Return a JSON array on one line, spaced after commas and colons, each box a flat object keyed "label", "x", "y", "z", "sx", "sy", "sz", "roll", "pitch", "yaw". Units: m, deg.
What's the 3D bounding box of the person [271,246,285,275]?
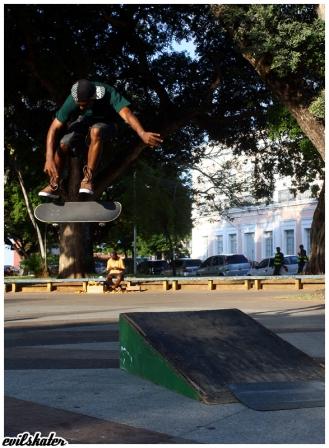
[{"label": "person", "x": 4.531, "y": 1.433, "z": 24.103, "sx": 0.404, "sy": 0.891, "sz": 1.264, "roll": -2, "pitch": -2, "yaw": 10}]

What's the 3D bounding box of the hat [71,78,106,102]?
[{"label": "hat", "x": -0.722, "y": -1.309, "z": 5.897, "sx": 0.296, "sy": 0.169, "sz": 0.191, "roll": -17, "pitch": 46, "yaw": -5}]

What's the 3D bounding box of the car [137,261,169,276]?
[{"label": "car", "x": -0.827, "y": 2.849, "z": 40.451, "sx": 0.916, "sy": 0.732, "sz": 1.561, "roll": 0, "pitch": 4, "yaw": -38}]

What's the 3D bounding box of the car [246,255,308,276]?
[{"label": "car", "x": 4.598, "y": 1.766, "z": 25.285, "sx": 1.055, "sy": 0.785, "sz": 1.708, "roll": 1, "pitch": 0, "yaw": -41}]

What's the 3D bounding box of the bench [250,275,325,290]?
[{"label": "bench", "x": 3.897, "y": 1.875, "z": 20.185, "sx": 2.398, "sy": 0.399, "sz": 3.063, "roll": -2, "pitch": -2, "yaw": -7}]

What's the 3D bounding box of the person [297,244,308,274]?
[{"label": "person", "x": 5.223, "y": 1.298, "z": 23.149, "sx": 0.365, "sy": 0.908, "sz": 2.109, "roll": -2, "pitch": -2, "yaw": 12}]

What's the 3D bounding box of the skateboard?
[{"label": "skateboard", "x": -0.899, "y": -0.116, "z": 6.245, "sx": 1.051, "sy": 0.296, "sz": 0.146, "roll": 0, "pitch": -18, "yaw": -2}]

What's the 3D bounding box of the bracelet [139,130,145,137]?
[{"label": "bracelet", "x": -0.216, "y": -0.871, "z": 5.902, "sx": 0.013, "sy": 0.056, "sz": 0.057, "roll": 35, "pitch": 15, "yaw": 0}]

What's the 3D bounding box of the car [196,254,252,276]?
[{"label": "car", "x": 2.633, "y": 1.881, "z": 27.934, "sx": 1.168, "sy": 0.851, "sz": 1.785, "roll": 0, "pitch": 1, "yaw": -38}]

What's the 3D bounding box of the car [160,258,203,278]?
[{"label": "car", "x": 1.025, "y": 2.308, "z": 33.164, "sx": 1.070, "sy": 0.828, "sz": 1.800, "roll": 2, "pitch": 1, "yaw": -35}]

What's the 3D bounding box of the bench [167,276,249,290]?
[{"label": "bench", "x": 1.478, "y": 2.011, "z": 21.019, "sx": 3.040, "sy": 0.326, "sz": 1.864, "roll": -2, "pitch": -2, "yaw": 8}]

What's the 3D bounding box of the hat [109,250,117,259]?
[{"label": "hat", "x": -1.353, "y": 0.795, "z": 16.296, "sx": 0.181, "sy": 0.212, "sz": 0.327, "roll": 0, "pitch": -7, "yaw": -12}]

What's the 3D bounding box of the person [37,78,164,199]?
[{"label": "person", "x": -0.540, "y": -0.847, "z": 6.176, "sx": 1.316, "sy": 1.131, "sz": 0.810, "roll": 2, "pitch": -4, "yaw": 21}]
